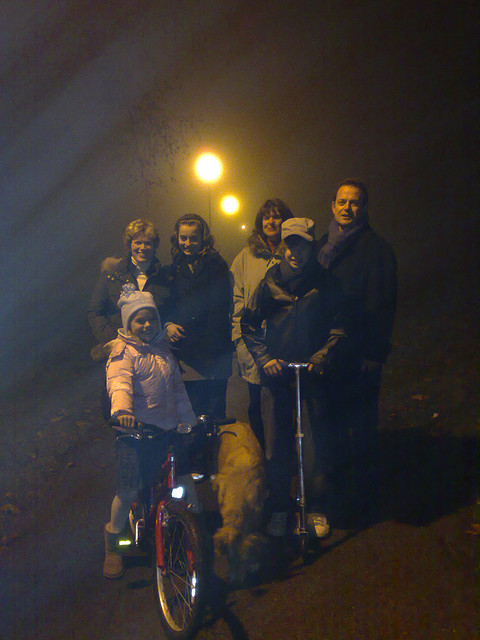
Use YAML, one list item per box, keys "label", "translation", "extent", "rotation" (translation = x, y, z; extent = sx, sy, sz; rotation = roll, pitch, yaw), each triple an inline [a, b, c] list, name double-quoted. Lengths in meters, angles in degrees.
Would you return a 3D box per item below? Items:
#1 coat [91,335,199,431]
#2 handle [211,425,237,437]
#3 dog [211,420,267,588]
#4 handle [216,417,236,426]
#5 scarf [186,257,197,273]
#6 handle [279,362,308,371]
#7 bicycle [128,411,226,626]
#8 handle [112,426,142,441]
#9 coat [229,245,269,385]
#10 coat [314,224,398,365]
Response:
- label: "coat"
  translation: [-0.383, 0.258, 3.089]
  extent: [0.388, 0.371, 0.504]
  rotation: [-7, -3, -10]
- label: "handle"
  translation: [-0.066, 0.459, 3.020]
  extent: [0.106, 0.069, 0.039]
  rotation: [1, -31, 3]
- label: "dog"
  translation: [-0.105, 0.804, 3.239]
  extent: [0.202, 0.756, 0.407]
  rotation: [2, -23, -7]
- label: "handle"
  translation: [-0.048, 0.392, 2.867]
  extent: [0.027, 0.031, 0.102]
  rotation: [-2, -12, -42]
- label: "scarf"
  translation: [-0.220, -0.252, 3.356]
  extent: [0.054, 0.066, 0.019]
  rotation: [0, 1, -1]
- label: "handle"
  translation: [0.236, 0.205, 3.245]
  extent: [0.047, 0.020, 0.069]
  rotation: [2, -22, 9]
- label: "bicycle"
  translation: [-0.213, 0.804, 3.028]
  extent: [0.372, 0.774, 0.600]
  rotation: [-7, -2, -2]
- label: "handle"
  translation: [-0.424, 0.435, 2.845]
  extent: [0.091, 0.039, 0.064]
  rotation: [6, -20, 0]
- label: "coat"
  translation: [-0.010, -0.027, 3.391]
  extent: [0.195, 0.596, 0.207]
  rotation: [-3, 15, -17]
- label: "coat"
  translation: [0.564, -0.108, 3.334]
  extent: [0.294, 0.625, 0.031]
  rotation: [-7, -1, 3]
